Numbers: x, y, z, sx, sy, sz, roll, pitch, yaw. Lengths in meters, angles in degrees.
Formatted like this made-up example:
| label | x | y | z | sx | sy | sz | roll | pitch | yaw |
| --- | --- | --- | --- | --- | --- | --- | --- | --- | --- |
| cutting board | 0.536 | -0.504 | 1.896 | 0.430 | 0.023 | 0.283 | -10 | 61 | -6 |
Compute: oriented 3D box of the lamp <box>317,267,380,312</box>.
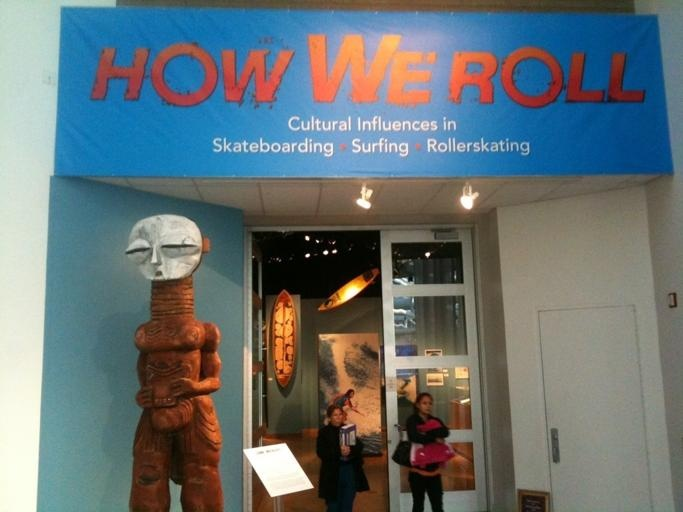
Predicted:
| label | x | y | z | sx | sy | sz | roll | pitch | yaw |
| --- | --- | --- | --- | --- | --- | --- | --- | --- | --- |
| lamp | 0.171 | 0.481 | 10.120 | 0.214 | 0.378 | 1.498 | -22 | -8 | -45 |

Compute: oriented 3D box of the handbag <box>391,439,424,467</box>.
| label | x | y | z | sx | sy | sz | roll | pitch | yaw |
| --- | --- | --- | --- | --- | --- | --- | --- | --- | --- |
| handbag | 0.686 | 2.006 | 6.719 | 0.359 | 0.394 | 0.177 | -9 | -32 | 29 |

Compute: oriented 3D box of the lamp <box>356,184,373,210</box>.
| label | x | y | z | sx | sy | sz | roll | pitch | yaw |
| --- | --- | --- | --- | --- | --- | --- | --- | --- | --- |
| lamp | 0.227 | -0.602 | 6.478 | 0.145 | 0.166 | 0.090 | 32 | 35 | 26 |

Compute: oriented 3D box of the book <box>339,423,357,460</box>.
| label | x | y | z | sx | sy | sz | roll | pitch | yaw |
| --- | --- | --- | --- | --- | --- | --- | --- | --- | --- |
| book | 0.069 | 1.875 | 6.668 | 0.174 | 0.355 | 0.233 | -3 | -7 | 4 |

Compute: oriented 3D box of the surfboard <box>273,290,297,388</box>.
| label | x | y | z | sx | sy | sz | roll | pitch | yaw |
| --- | --- | --- | --- | --- | --- | --- | --- | --- | --- |
| surfboard | -0.920 | 1.295 | 10.396 | 0.361 | 1.463 | 0.924 | -2 | -7 | -6 |

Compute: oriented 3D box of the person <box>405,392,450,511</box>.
| label | x | y | z | sx | sy | sz | roll | pitch | yaw |
| --- | --- | --- | --- | --- | --- | --- | --- | --- | --- |
| person | 0.872 | 2.007 | 6.805 | 0.403 | 1.176 | 0.417 | -2 | -7 | -5 |
